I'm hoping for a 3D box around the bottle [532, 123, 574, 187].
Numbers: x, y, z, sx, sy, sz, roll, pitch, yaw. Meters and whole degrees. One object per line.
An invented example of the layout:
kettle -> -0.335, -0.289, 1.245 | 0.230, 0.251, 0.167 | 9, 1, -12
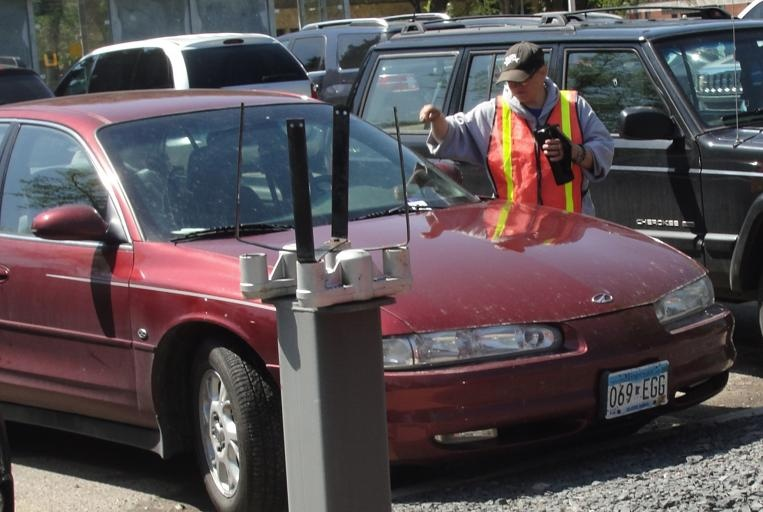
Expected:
bottle -> 1.144, -0.668, 5.616 | 0.110, 0.383, 0.255 | -31, 22, -25
